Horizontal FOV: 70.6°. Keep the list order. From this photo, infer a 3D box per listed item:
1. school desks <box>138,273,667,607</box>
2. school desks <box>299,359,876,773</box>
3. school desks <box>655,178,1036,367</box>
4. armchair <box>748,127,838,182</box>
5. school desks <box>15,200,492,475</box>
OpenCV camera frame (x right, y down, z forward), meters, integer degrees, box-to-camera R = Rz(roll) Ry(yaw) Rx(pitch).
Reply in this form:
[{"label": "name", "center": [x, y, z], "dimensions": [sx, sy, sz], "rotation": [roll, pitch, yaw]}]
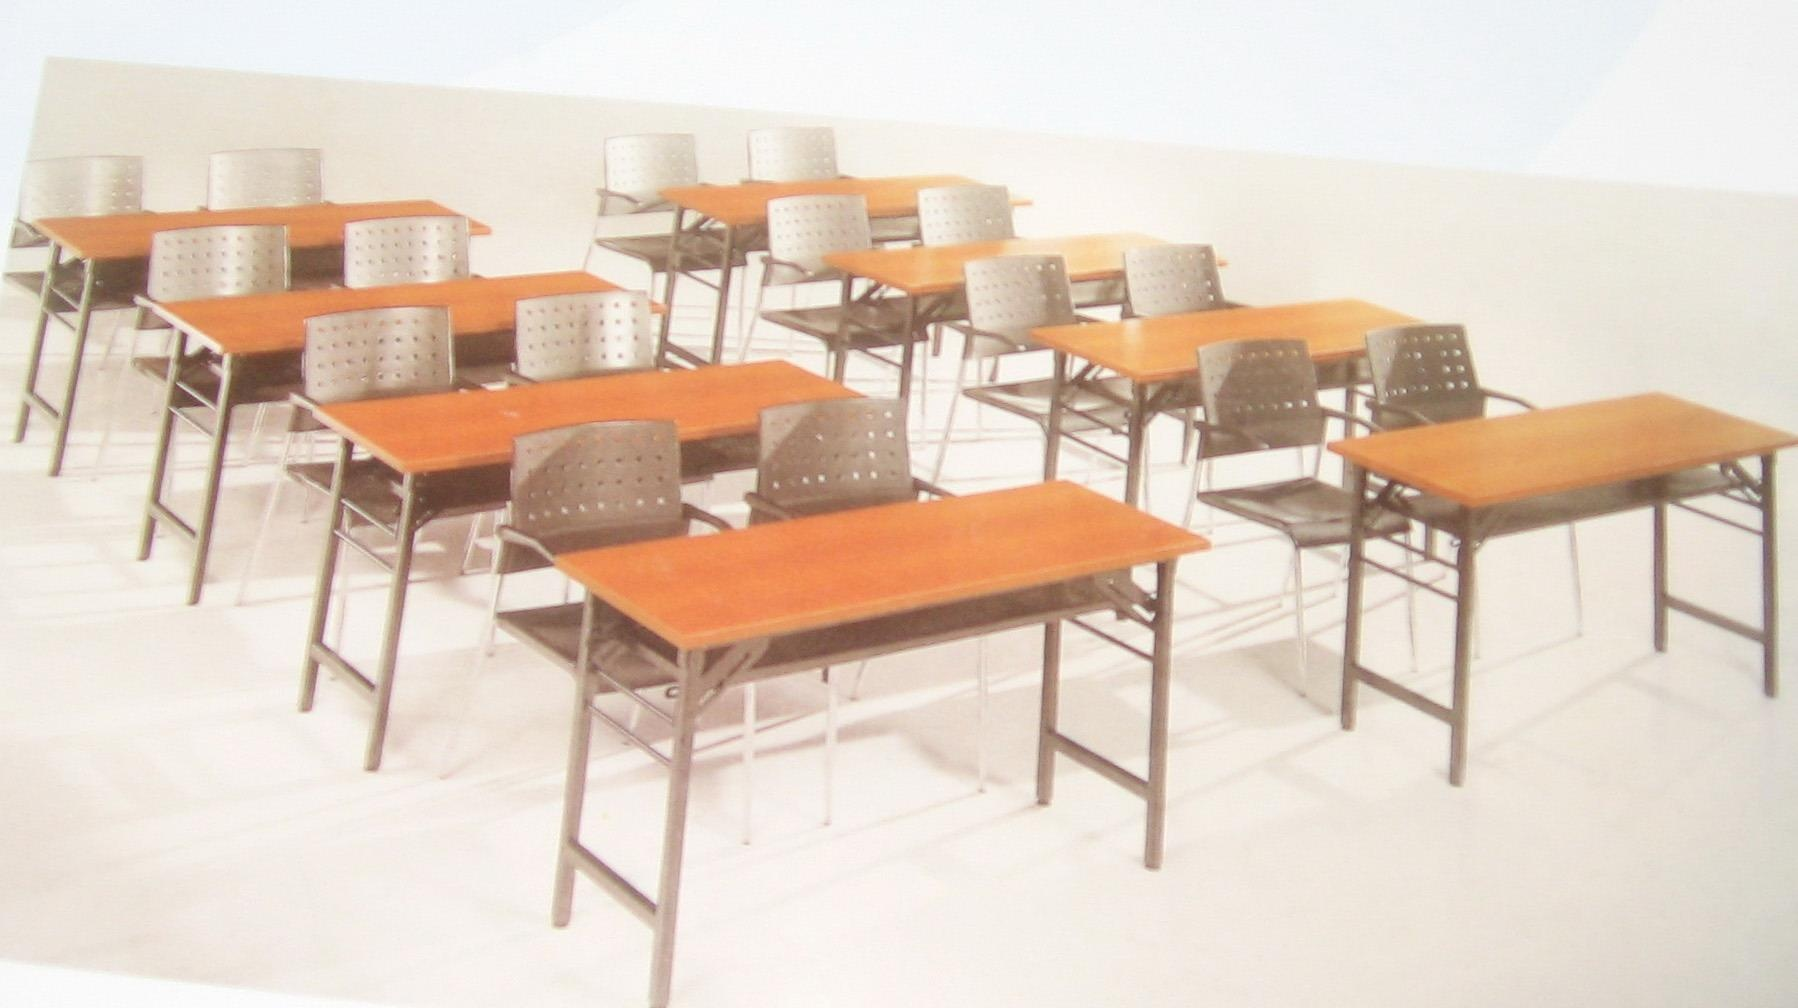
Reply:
[{"label": "school desks", "center": [-2.469, -0.315, 6.391], "dimensions": [2.116, 0.920, 0.701], "rotation": [-14, 40, -36]}, {"label": "school desks", "center": [-1.395, 0.299, 5.736], "dimensions": [2.203, 0.940, 0.785], "rotation": [-11, 28, -34]}, {"label": "school desks", "center": [-0.368, -1.595, 8.696], "dimensions": [2.073, 0.804, 0.890], "rotation": [-10, 25, -27]}, {"label": "armchair", "center": [-0.852, -2.790, 10.079], "dimensions": [0.828, 0.405, 0.426], "rotation": [-10, 20, -30]}, {"label": "school desks", "center": [-3.606, -0.934, 7.146], "dimensions": [2.121, 0.928, 0.748], "rotation": [-11, 42, -38]}]
